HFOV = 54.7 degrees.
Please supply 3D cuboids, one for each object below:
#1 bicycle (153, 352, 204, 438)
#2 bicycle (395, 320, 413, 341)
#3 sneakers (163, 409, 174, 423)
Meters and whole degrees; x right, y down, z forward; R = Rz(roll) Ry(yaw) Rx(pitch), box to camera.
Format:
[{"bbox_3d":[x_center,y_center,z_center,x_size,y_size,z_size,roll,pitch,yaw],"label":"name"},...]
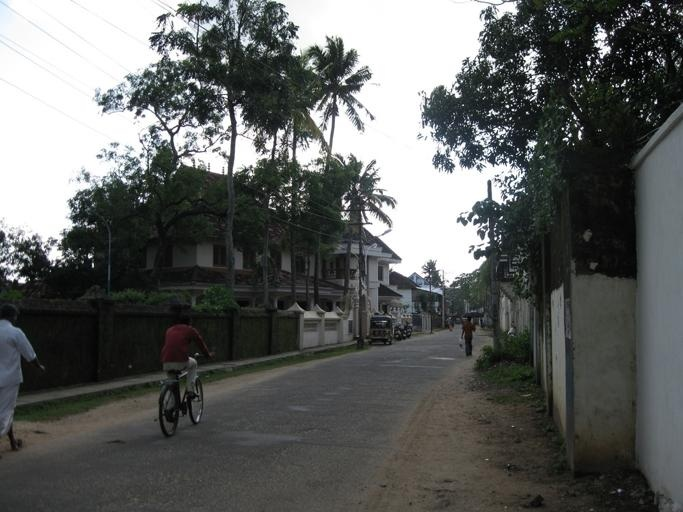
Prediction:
[{"bbox_3d":[-3.411,2.756,12.668,0.689,1.121,1.604,0,0,11],"label":"bicycle"},{"bbox_3d":[5.097,6.175,54.004,0.967,1.498,2.182,-2,1,32],"label":"bicycle"},{"bbox_3d":[-3.160,2.899,12.017,0.062,0.199,0.232,0,-2,32],"label":"sneakers"}]
